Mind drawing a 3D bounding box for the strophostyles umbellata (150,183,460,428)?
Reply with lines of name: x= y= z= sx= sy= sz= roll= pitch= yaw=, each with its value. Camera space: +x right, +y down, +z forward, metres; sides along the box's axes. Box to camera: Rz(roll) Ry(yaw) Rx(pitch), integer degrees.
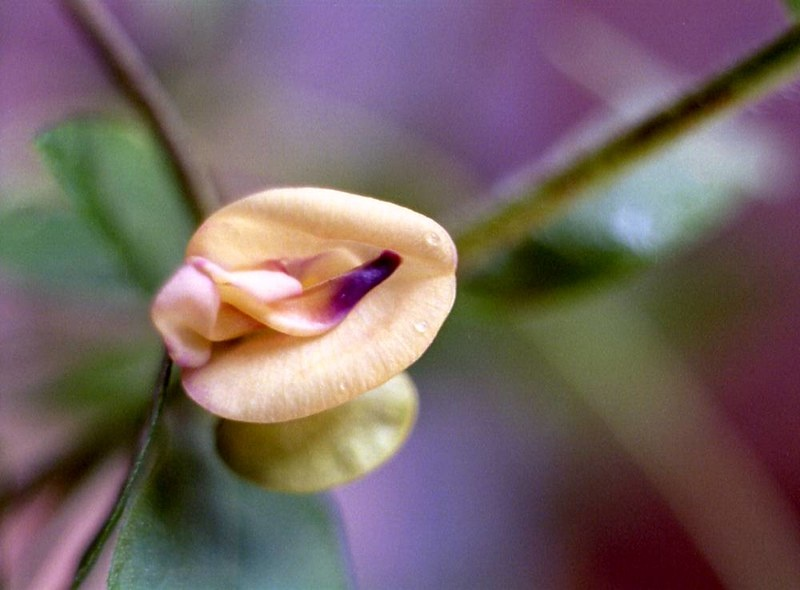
strophostyles umbellata: x=-0.054 y=0.005 z=0.514 sx=0.164 sy=0.083 sz=0.123 roll=2 pitch=73 yaw=-17
